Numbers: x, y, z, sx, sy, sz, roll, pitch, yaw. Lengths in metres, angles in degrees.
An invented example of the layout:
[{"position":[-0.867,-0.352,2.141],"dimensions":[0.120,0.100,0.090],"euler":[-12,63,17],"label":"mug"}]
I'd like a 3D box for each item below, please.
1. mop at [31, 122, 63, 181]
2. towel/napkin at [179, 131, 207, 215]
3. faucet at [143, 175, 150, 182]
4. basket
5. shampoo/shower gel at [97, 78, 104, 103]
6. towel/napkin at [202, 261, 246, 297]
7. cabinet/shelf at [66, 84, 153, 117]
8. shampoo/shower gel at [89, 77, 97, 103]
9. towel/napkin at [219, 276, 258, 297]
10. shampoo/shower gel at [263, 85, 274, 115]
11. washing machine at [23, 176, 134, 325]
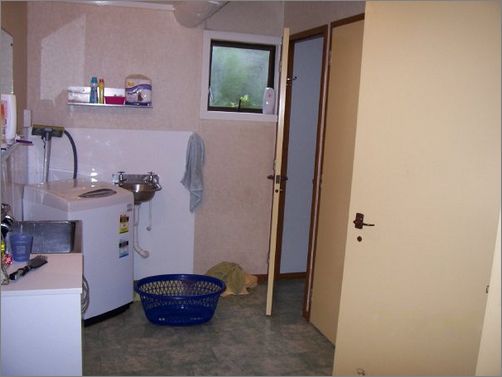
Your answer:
[{"position":[-1.866,-0.375,3.895],"dimensions":[0.227,0.574,0.203],"euler":[3,14,-27],"label":"mop"},{"position":[-0.591,-0.144,4.299],"dimensions":[0.233,0.811,0.122],"euler":[0,7,-7],"label":"towel/napkin"},{"position":[-1.032,-0.095,4.204],"dimensions":[0.077,0.061,0.029],"euler":[0,7,-11],"label":"faucet"},{"position":[-0.621,0.980,3.745],"dimensions":[0.782,0.313,0.541],"euler":[1,7,-2],"label":"basket"},{"position":[-1.423,-0.917,4.034],"dimensions":[0.064,0.236,0.061],"euler":[-2,8,-23],"label":"shampoo/shower gel"},{"position":[-0.237,0.867,4.301],"dimensions":[0.345,0.290,0.253],"euler":[1,11,-23],"label":"towel/napkin"},{"position":[-1.358,-0.849,4.070],"dimensions":[0.773,0.223,0.163],"euler":[1,7,-5],"label":"cabinet/shelf"},{"position":[-1.482,-0.917,4.009],"dimensions":[0.076,0.245,0.068],"euler":[-3,8,-27],"label":"shampoo/shower gel"},{"position":[-0.075,0.993,4.359],"dimensions":[0.159,0.077,0.254],"euler":[1,10,31],"label":"towel/napkin"},{"position":[0.185,-0.905,4.421],"dimensions":[0.123,0.269,0.084],"euler":[5,5,16],"label":"shampoo/shower gel"},{"position":[-1.464,0.364,3.682],"dimensions":[0.799,1.267,0.816],"euler":[4,5,11],"label":"washing machine"}]
